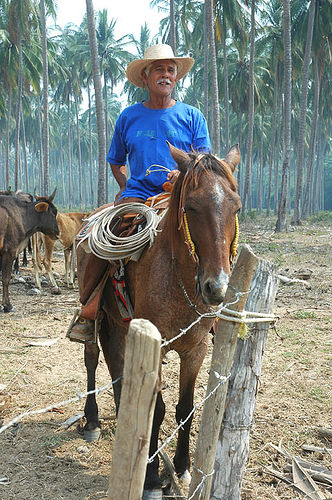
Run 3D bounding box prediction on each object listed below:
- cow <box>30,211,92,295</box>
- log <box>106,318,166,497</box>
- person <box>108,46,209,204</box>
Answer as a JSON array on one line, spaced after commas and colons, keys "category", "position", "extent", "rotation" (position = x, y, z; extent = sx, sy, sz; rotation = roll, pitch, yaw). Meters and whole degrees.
[{"category": "cow", "position": [-2.044, -0.044, 13.013], "extent": [0.541, 1.771, 2.275], "rotation": [9, 4, 23]}, {"category": "log", "position": [-0.148, 0.780, 3.133], "extent": [0.250, 0.894, 0.163], "rotation": [1, 4, -4]}, {"category": "person", "position": [-0.039, -0.681, 5.354], "extent": [0.765, 1.896, 0.749], "rotation": [-1, 1, -16]}]
